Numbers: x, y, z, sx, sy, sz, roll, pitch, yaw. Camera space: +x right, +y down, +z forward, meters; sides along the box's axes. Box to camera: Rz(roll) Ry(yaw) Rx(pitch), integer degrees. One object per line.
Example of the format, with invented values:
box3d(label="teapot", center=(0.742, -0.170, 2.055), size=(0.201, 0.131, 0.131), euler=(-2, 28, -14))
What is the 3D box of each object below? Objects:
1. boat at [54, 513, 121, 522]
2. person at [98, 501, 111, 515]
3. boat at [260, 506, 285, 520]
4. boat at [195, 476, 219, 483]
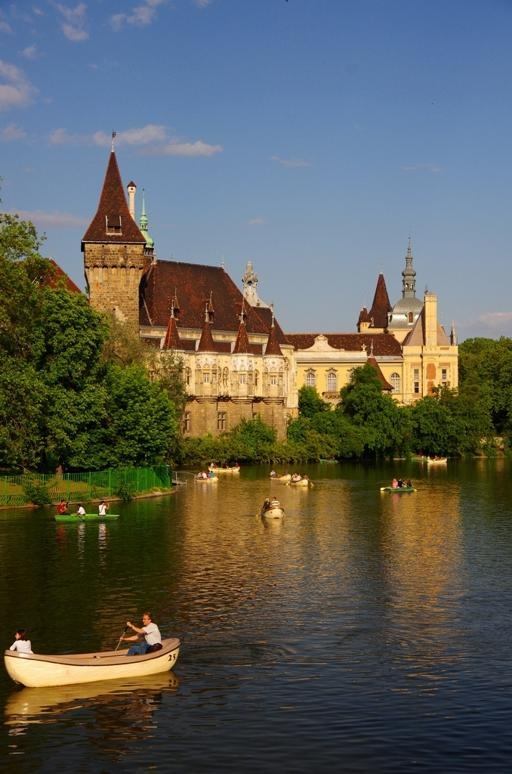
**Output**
box3d(label="boat", center=(-7.291, 5.661, 52.456), size=(1.664, 0.384, 3.179), euler=(-4, -4, 36))
box3d(label="person", center=(-6.967, 5.533, 55.077), size=(0.420, 0.771, 0.490), euler=(3, 19, 3))
box3d(label="boat", center=(0.772, 5.645, 54.113), size=(0.936, 0.529, 0.893), euler=(-2, -3, 3))
box3d(label="boat", center=(-3.164, 5.987, 77.801), size=(0.988, 0.376, 0.584), euler=(4, 0, 7))
